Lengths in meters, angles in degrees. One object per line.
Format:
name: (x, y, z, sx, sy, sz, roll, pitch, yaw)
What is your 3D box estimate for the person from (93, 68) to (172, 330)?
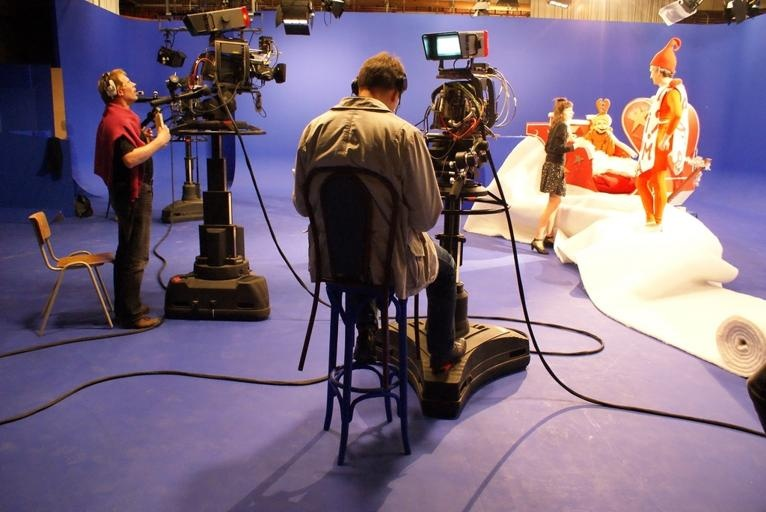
person: (-2.008, -0.316, 4.992, 0.545, 1.765, 0.498, -8, 19, -27)

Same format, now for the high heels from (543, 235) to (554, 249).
high heels: (2.063, -0.190, 7.509, 0.113, 0.170, 0.155, 0, -1, 23)

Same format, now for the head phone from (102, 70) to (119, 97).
head phone: (-2.170, -1.370, 4.845, 0.062, 0.174, 0.180, -5, 10, -17)

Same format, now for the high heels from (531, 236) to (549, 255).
high heels: (1.901, -0.134, 7.382, 0.121, 0.216, 0.378, 1, 4, -22)

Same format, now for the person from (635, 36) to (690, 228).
person: (2.934, -1.346, 6.303, 0.459, 1.737, 1.227, 9, 19, 24)

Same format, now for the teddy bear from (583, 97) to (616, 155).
teddy bear: (3.160, -1.847, 8.841, 0.379, 0.943, 0.249, 7, 40, 19)

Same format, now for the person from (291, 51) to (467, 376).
person: (0.015, -0.203, 3.808, 1.090, 2.038, 0.577, 3, 17, 7)

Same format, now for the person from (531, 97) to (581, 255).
person: (2.059, -0.977, 7.308, 0.372, 1.784, 0.795, 6, 18, 16)

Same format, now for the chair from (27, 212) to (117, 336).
chair: (-2.623, 0.104, 5.189, 0.577, 0.917, 0.550, -5, 12, -31)

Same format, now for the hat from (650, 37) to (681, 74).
hat: (3.022, -2.160, 6.456, 0.314, 0.324, 0.271, -11, 33, -33)

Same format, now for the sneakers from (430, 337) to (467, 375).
sneakers: (0.458, 0.642, 4.180, 0.139, 0.194, 0.393, 7, 19, 33)
